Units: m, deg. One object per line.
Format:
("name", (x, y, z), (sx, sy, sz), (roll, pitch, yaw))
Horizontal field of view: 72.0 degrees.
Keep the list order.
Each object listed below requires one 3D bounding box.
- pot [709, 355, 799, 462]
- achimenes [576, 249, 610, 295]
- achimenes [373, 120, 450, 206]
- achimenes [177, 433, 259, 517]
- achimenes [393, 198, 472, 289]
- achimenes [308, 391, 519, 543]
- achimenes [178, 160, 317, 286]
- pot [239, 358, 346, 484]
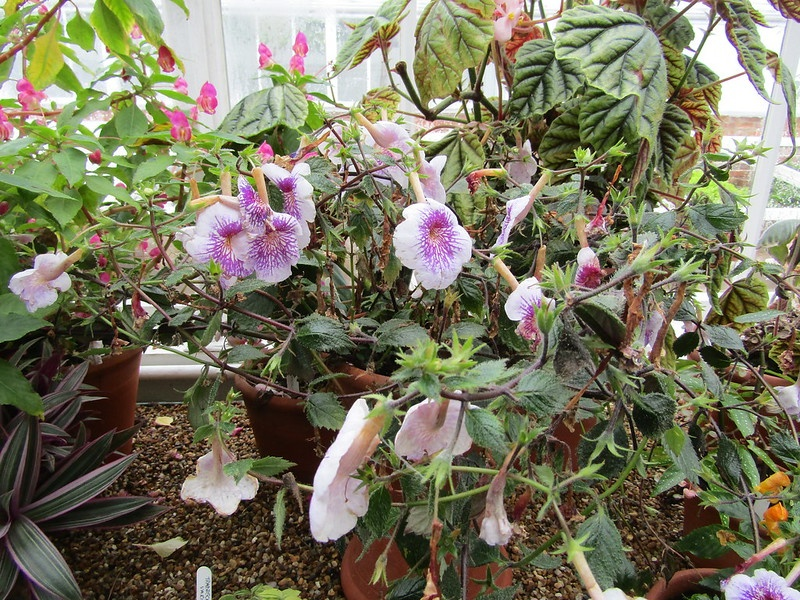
("pot", (0.747, 0.220, 1.198), (0.202, 0.136, 0.190), (23, -15, 6))
("achimenes", (0.298, -0.054, 0.850), (0.058, 0.067, 0.046), (16, 33, 40))
("achimenes", (0.021, -0.245, 0.967), (0.066, 0.104, 0.169), (-31, 43, -29))
("achimenes", (-0.305, 0.306, 0.954), (0.148, 0.158, 0.088), (28, 27, 38))
("achimenes", (0.049, -0.074, 0.832), (0.127, 0.132, 0.033), (-8, 1, -29))
("achimenes", (0.019, 0.233, 0.800), (0.176, 0.136, 0.273), (54, 13, 33))
("achimenes", (-0.261, -0.112, 0.942), (0.206, 0.260, 0.151), (3, 22, -21))
("pot", (-0.290, 0.304, 1.363), (0.270, 0.201, 0.268), (6, 16, -2))
